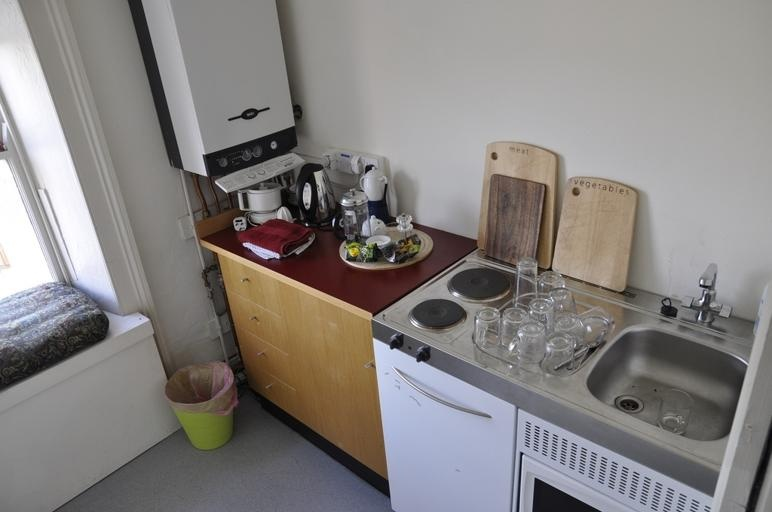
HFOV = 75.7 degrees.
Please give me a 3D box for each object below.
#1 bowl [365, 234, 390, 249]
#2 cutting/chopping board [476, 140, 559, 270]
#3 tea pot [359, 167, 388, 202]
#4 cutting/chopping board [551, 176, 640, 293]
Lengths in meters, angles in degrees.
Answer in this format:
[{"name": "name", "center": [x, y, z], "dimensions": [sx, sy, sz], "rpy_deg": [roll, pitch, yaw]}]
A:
[{"name": "bowl", "center": [-0.033, -0.068, 2.458], "dimensions": [0.124, 0.037, 0.105], "rpy_deg": [-4, 28, -4]}, {"name": "cutting/chopping board", "center": [0.615, -0.242, 2.249], "dimensions": [0.448, 0.617, 0.056], "rpy_deg": [26, 45, 37]}, {"name": "tea pot", "center": [-0.062, -0.383, 2.613], "dimensions": [0.113, 0.183, 0.167], "rpy_deg": [-22, 34, -29]}, {"name": "cutting/chopping board", "center": [0.903, -0.096, 2.097], "dimensions": [0.384, 0.530, 0.046], "rpy_deg": [20, 34, 36]}]
